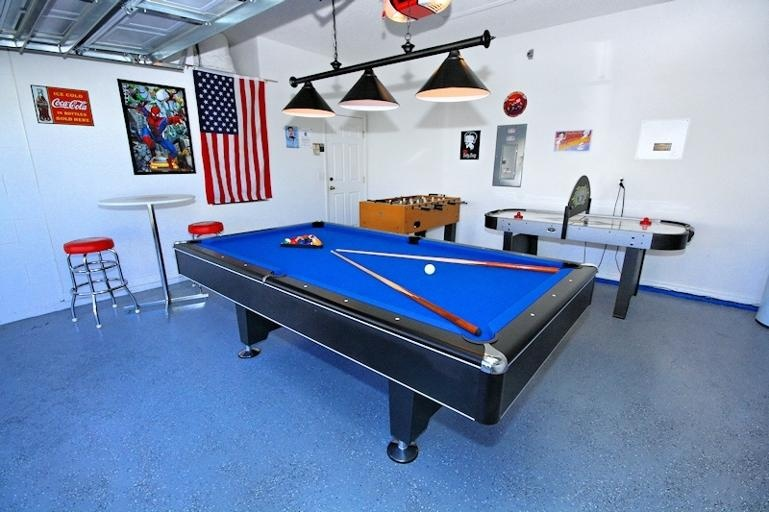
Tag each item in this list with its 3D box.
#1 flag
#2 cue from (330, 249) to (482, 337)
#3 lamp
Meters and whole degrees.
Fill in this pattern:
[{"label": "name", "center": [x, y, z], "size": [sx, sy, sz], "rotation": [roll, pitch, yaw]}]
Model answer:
[{"label": "flag", "center": [-2.044, -1.584, 6.558], "size": [0.974, 1.717, 0.143], "rotation": [-13, 21, -42]}, {"label": "cue", "center": [0.158, 0.314, 3.848], "size": [0.081, 0.076, 1.707], "rotation": [23, 2, -42]}, {"label": "lamp", "center": [0.026, -2.442, 5.904], "size": [1.601, 1.029, 0.389], "rotation": [6, 13, 32]}]
